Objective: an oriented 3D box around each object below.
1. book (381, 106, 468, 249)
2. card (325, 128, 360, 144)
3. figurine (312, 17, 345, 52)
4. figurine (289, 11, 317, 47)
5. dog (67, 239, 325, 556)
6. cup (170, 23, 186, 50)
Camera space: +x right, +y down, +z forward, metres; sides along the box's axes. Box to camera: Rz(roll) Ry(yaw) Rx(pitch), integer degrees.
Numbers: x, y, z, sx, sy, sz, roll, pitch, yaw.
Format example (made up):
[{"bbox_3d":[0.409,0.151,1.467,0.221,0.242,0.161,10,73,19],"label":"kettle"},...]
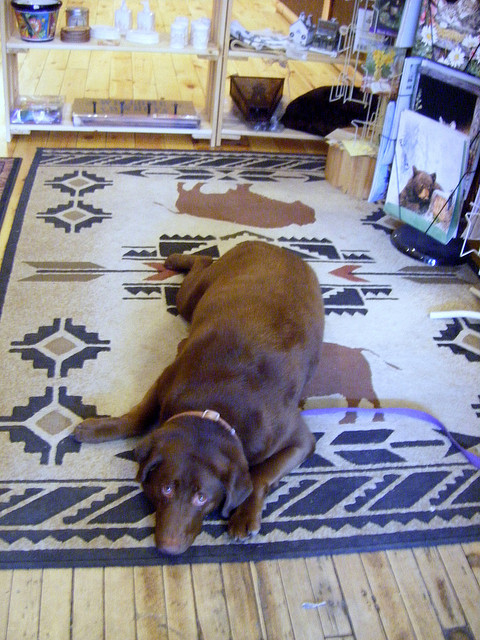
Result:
[{"bbox_3d":[0.823,-0.629,2.143,0.068,0.528,0.535,-14,46,-20],"label":"book"},{"bbox_3d":[0.559,-1.007,2.689,0.124,0.033,0.120,-8,37,-19],"label":"card"},{"bbox_3d":[0.532,-1.717,2.996,0.136,0.203,0.216,10,70,5],"label":"figurine"},{"bbox_3d":[0.397,-1.754,2.983,0.156,0.174,0.283,16,30,11],"label":"figurine"},{"bbox_3d":[-0.091,0.111,1.286,0.558,0.326,0.961,14,50,2],"label":"dog"},{"bbox_3d":[-0.350,-1.608,2.799,0.083,0.128,0.061,4,28,-10],"label":"cup"}]
